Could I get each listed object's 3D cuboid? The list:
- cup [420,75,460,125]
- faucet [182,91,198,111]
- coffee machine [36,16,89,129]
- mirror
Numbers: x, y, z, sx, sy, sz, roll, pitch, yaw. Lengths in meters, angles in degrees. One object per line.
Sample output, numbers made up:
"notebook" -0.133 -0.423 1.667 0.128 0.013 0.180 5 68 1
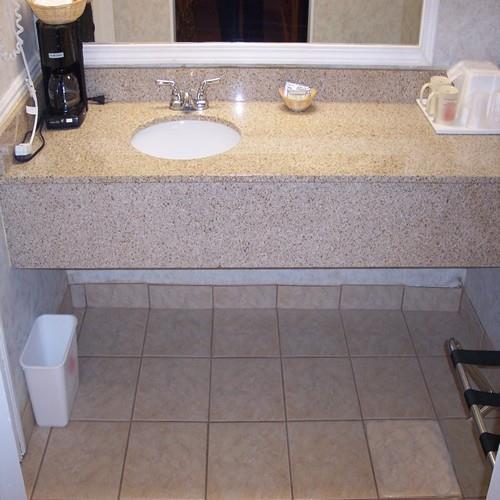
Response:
"cup" 0.608 -0.509 1.618 0.159 0.144 0.103 2 11 16
"faucet" -0.217 -0.540 1.712 0.052 0.063 0.089 -4 32 -8
"coffee machine" -0.612 -0.592 1.579 0.128 0.308 0.238 -3 31 -7
"mirror" 0.034 -0.755 1.671 1.233 0.240 0.040 1 29 0
